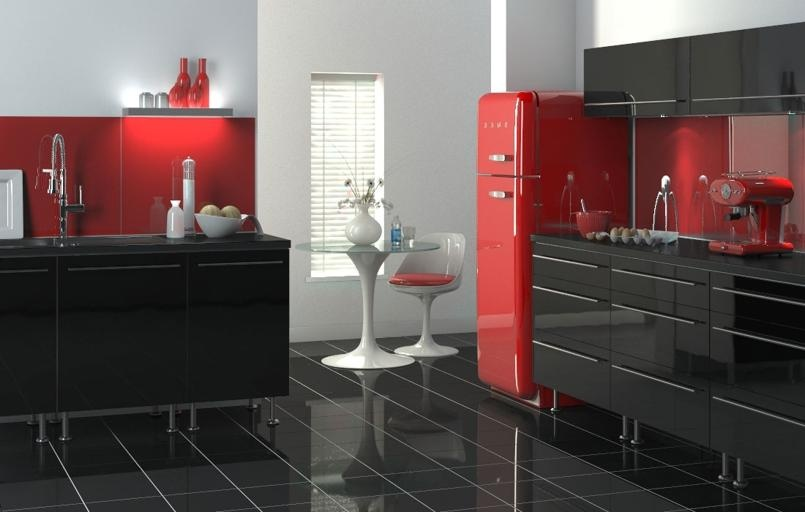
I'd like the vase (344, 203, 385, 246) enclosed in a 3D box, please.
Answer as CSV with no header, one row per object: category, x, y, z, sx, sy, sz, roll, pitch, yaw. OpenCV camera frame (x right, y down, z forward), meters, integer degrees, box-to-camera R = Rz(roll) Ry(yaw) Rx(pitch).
vase,-0.386,-0.303,6.757,0.421,0.367,0.407,4,15,22

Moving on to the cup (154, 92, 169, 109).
cup,-2.368,-1.538,6.769,0.135,0.140,0.072,-3,10,-19

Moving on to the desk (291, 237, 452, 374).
desk,-0.334,0.486,6.784,1.300,1.251,0.814,-1,9,-8

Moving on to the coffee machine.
coffee machine,2.417,-0.287,4.949,0.668,0.683,0.526,2,-3,-23

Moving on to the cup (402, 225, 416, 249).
cup,0.061,-0.187,6.735,0.111,0.161,0.198,0,9,-4

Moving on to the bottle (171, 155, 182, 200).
bottle,-2.263,-0.778,6.919,0.094,0.410,0.116,5,10,25

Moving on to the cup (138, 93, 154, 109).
cup,-2.496,-1.517,6.722,0.166,0.170,0.159,0,3,0

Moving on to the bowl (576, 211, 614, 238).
bowl,1.523,-0.246,5.522,0.226,0.164,0.233,-1,-2,0

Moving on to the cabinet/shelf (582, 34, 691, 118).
cabinet/shelf,1.728,-1.442,5.826,1.121,0.626,0.645,5,15,39

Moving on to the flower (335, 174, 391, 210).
flower,-0.371,-0.632,7.141,0.508,0.469,0.476,0,1,-39

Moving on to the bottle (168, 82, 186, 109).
bottle,-2.228,-1.586,6.791,0.156,0.242,0.093,-2,10,-17
